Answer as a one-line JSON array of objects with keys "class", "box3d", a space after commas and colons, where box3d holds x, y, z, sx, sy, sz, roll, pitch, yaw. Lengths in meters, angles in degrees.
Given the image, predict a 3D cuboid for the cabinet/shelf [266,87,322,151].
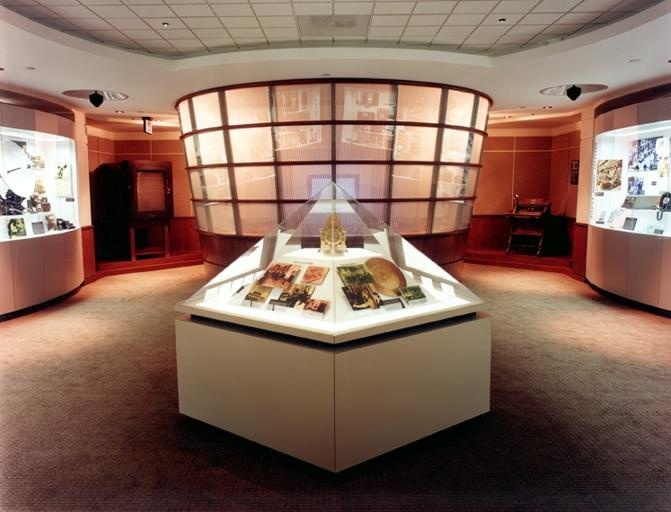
[{"class": "cabinet/shelf", "box3d": [-0.549, -2.112, 6.503, 0.973, 0.826, 0.226, 2, 9, 8]}]
